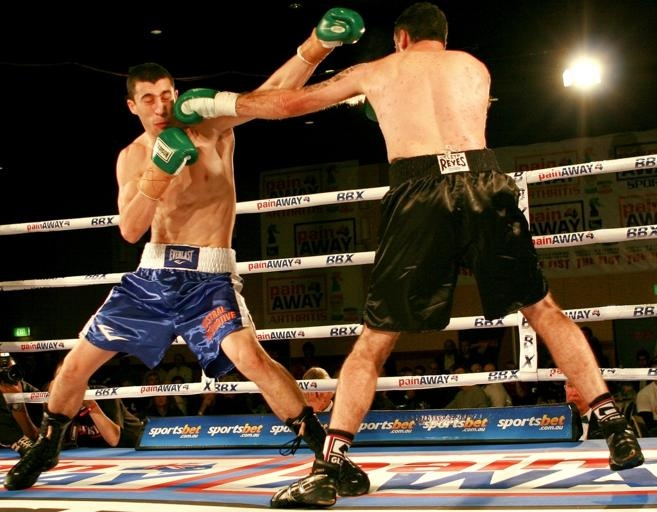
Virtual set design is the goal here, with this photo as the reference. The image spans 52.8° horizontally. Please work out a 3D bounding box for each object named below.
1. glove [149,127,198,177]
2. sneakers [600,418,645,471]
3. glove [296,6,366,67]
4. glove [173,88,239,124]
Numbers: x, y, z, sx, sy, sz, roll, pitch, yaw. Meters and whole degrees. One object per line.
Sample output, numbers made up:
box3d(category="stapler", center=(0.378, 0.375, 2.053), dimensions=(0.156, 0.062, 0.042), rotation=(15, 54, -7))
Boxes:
box3d(category="glove", center=(-0.726, -0.486, 3.115), dimensions=(0.174, 0.177, 0.170), rotation=(34, -56, -30))
box3d(category="sneakers", center=(1.145, 0.740, 2.620), dimensions=(0.115, 0.104, 0.250), rotation=(-15, 2, 9))
box3d(category="glove", center=(0.032, -1.037, 3.145), dimensions=(0.304, 0.229, 0.126), rotation=(-43, -4, 8))
box3d(category="glove", center=(-0.565, -0.689, 3.072), dimensions=(0.258, 0.091, 0.177), rotation=(8, 9, 43))
